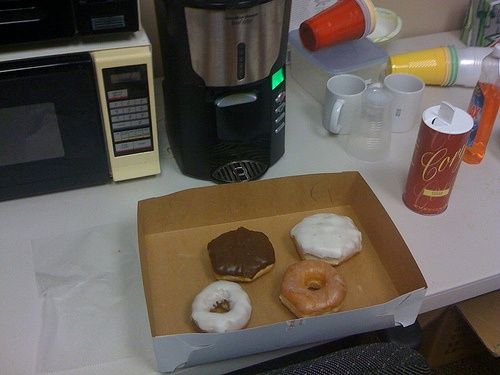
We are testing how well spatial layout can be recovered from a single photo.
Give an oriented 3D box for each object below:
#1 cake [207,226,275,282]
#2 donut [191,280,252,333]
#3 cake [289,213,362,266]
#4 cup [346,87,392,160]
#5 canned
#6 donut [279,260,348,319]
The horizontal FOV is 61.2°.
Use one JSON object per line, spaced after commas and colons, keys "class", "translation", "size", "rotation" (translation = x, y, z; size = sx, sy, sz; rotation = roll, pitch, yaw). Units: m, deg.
{"class": "cake", "translation": [-0.015, 0.135, 0.832], "size": [0.121, 0.035, 0.099], "rotation": [-16, 42, -14]}
{"class": "donut", "translation": [-0.051, 0.218, 0.765], "size": [0.104, 0.048, 0.094], "rotation": [-5, 40, -1]}
{"class": "cake", "translation": [0.159, 0.104, 0.865], "size": [0.129, 0.040, 0.108], "rotation": [-16, 42, -13]}
{"class": "cup", "translation": [0.289, -0.149, 1.013], "size": [0.076, 0.129, 0.131], "rotation": [15, 51, 14]}
{"class": "canned", "translation": [0.390, -0.063, 0.883], "size": [0.099, 0.239, 0.097], "rotation": [15, 42, 23]}
{"class": "donut", "translation": [0.123, 0.191, 0.788], "size": [0.119, 0.048, 0.142], "rotation": [9, 34, 14]}
